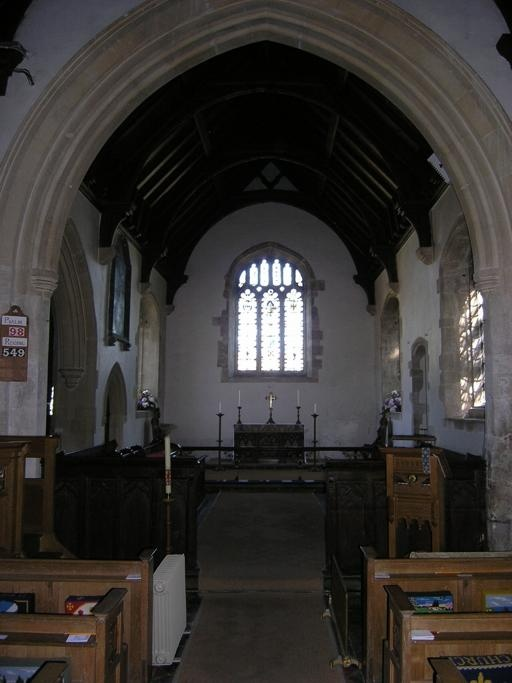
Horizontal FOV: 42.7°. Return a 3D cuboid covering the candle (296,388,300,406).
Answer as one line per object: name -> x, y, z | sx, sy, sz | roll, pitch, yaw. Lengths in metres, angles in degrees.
candle -> 0.824, 1.089, 12.853 | 0.079, 0.325, 0.063 | 0, -3, 4

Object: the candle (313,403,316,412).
candle -> 1.147, 1.291, 12.842 | 0.066, 0.181, 0.041 | 0, -3, 7

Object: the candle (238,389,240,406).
candle -> -0.337, 1.098, 12.878 | 0.057, 0.286, 0.075 | 1, -3, -13

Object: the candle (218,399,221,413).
candle -> -0.728, 1.269, 12.882 | 0.066, 0.207, 0.046 | 0, -3, -7
